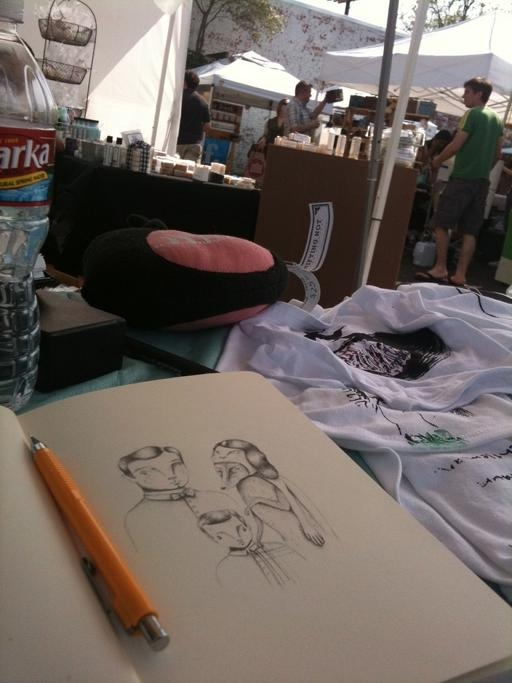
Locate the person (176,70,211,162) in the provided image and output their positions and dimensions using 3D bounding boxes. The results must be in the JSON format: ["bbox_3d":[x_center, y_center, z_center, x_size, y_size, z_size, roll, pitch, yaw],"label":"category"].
[{"bbox_3d":[-0.648,-2.402,5.282,0.320,0.917,0.475,6,16,-11],"label":"person"}]

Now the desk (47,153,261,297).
[{"bbox_3d":[-0.522,-0.564,2.441,1.038,0.556,0.393,5,16,-14],"label":"desk"}]

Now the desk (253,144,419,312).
[{"bbox_3d":[0.357,-0.586,2.791,1.037,0.715,1.049,7,3,-38],"label":"desk"}]

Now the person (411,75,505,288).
[{"bbox_3d":[1.703,-1.297,4.120,0.488,1.664,0.612,14,16,15],"label":"person"}]

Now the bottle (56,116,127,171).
[{"bbox_3d":[-0.751,-0.919,2.356,0.252,0.241,0.297,-2,18,-10],"label":"bottle"}]
